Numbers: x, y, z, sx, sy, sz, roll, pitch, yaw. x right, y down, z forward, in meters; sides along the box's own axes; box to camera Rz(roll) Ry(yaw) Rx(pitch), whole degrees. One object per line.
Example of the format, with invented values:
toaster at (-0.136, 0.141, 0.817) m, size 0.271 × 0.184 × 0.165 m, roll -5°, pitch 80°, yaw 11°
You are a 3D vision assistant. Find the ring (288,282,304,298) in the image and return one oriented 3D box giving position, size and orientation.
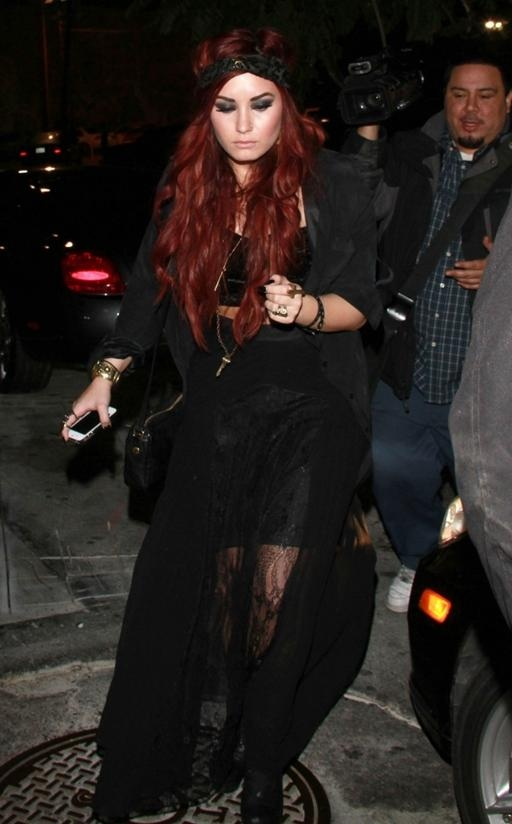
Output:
ring at (0.096, -0.283, 1.523) m, size 0.033 × 0.045 × 0.023 m, roll -1°, pitch -5°, yaw -23°

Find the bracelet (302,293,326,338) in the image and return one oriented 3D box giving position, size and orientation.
bracelet at (0.153, -0.241, 1.609) m, size 0.032 × 0.080 × 0.068 m, roll 19°, pitch 25°, yaw 19°

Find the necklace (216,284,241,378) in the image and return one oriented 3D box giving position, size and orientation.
necklace at (-0.091, -0.185, 1.714) m, size 0.049 × 0.180 × 0.080 m, roll -4°, pitch 11°, yaw -35°

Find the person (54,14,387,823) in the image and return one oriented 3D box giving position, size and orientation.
person at (-0.086, 0.041, 1.753) m, size 0.862 × 2.112 × 0.610 m, roll 4°, pitch 10°, yaw 11°

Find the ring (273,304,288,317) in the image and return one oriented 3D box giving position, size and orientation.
ring at (0.056, -0.236, 1.485) m, size 0.031 × 0.024 × 0.009 m, roll 3°, pitch 9°, yaw 3°

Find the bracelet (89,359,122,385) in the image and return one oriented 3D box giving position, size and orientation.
bracelet at (-0.448, -0.129, 1.954) m, size 0.083 × 0.089 × 0.058 m, roll 13°, pitch 49°, yaw 12°
